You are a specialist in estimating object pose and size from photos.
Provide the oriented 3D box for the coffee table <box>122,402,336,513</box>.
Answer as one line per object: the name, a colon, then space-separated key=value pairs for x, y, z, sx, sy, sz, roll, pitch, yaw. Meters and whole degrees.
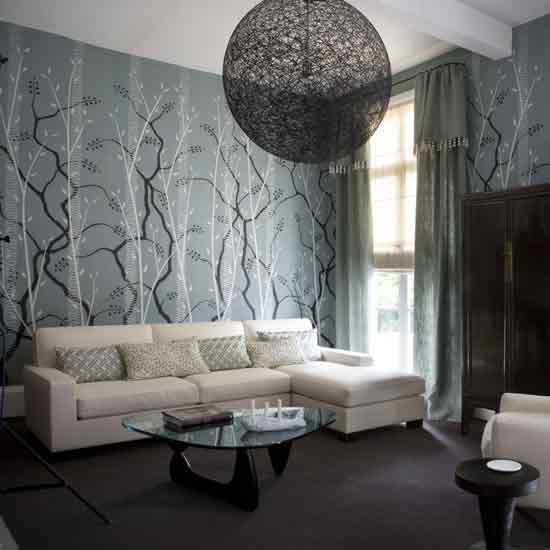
coffee table: x=-0.250 y=0.924 z=2.557 sx=1.136 sy=0.426 sz=0.759 roll=0 pitch=-2 yaw=5

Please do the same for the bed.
bed: x=0.433 y=0.851 z=4.074 sx=0.738 sy=0.863 sz=1.333 roll=-1 pitch=-2 yaw=-32
